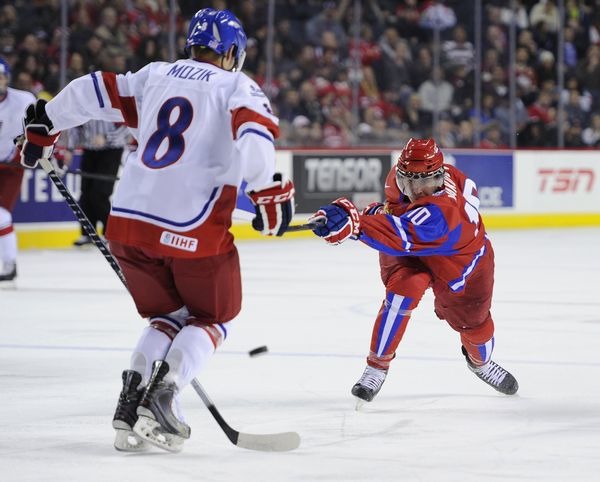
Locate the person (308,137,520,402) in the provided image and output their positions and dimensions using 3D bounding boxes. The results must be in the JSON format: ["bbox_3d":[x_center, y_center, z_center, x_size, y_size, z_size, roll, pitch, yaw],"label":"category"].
[{"bbox_3d":[0.565,0.174,4.152,0.577,1.101,1.770,5,1,37],"label":"person"}]

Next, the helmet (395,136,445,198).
[{"bbox_3d":[0.545,-0.317,3.979,0.245,0.241,0.286,2,28,14],"label":"helmet"}]

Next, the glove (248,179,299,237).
[{"bbox_3d":[-0.104,-0.133,3.323,0.170,0.249,0.135,2,18,-1],"label":"glove"}]

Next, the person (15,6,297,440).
[{"bbox_3d":[-0.472,-0.060,3.447,0.708,1.608,0.843,-6,20,-25],"label":"person"}]

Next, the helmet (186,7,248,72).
[{"bbox_3d":[-0.310,-0.791,3.544,0.229,0.227,0.271,9,4,11],"label":"helmet"}]

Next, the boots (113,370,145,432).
[{"bbox_3d":[-0.613,0.583,3.302,0.096,0.234,0.116,5,-24,16],"label":"boots"}]

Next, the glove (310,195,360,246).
[{"bbox_3d":[0.135,-0.063,3.717,0.215,0.205,0.163,-7,20,-28],"label":"glove"}]
